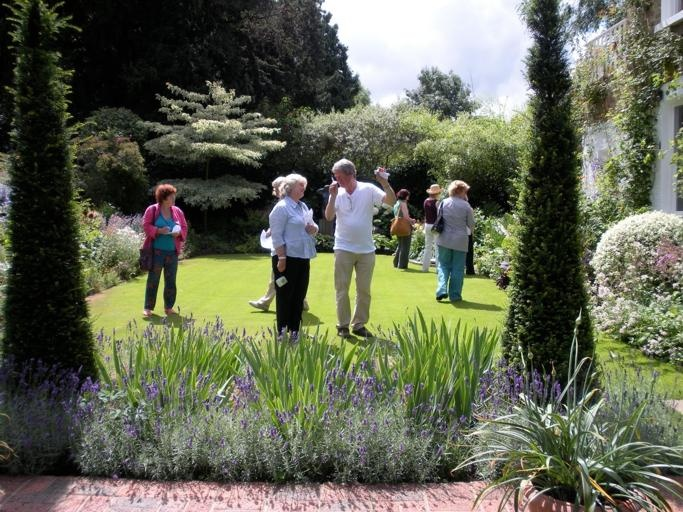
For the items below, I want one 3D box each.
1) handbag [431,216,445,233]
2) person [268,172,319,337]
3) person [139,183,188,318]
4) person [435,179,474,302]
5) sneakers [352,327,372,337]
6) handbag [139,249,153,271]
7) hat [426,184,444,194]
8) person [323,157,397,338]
[{"bbox_3d":[1.467,-0.476,8.773,0.210,0.265,0.136,1,4,-8],"label":"handbag"},{"bbox_3d":[-0.526,-0.042,6.208,0.354,1.678,0.567,5,5,43],"label":"person"},{"bbox_3d":[-2.409,-0.090,7.866,0.555,1.766,0.715,0,4,-17],"label":"person"},{"bbox_3d":[1.755,-0.231,8.911,0.538,1.858,0.512,2,4,12],"label":"person"},{"bbox_3d":[0.236,0.884,6.730,0.257,0.127,0.095,-2,1,29],"label":"sneakers"},{"bbox_3d":[-2.536,0.046,7.520,0.221,0.306,0.158,4,-10,-21],"label":"handbag"},{"bbox_3d":[1.821,-1.293,11.275,0.359,0.179,0.436,-1,11,8],"label":"hat"},{"bbox_3d":[0.186,-0.076,6.574,0.720,2.028,0.572,1,4,-2],"label":"person"}]
